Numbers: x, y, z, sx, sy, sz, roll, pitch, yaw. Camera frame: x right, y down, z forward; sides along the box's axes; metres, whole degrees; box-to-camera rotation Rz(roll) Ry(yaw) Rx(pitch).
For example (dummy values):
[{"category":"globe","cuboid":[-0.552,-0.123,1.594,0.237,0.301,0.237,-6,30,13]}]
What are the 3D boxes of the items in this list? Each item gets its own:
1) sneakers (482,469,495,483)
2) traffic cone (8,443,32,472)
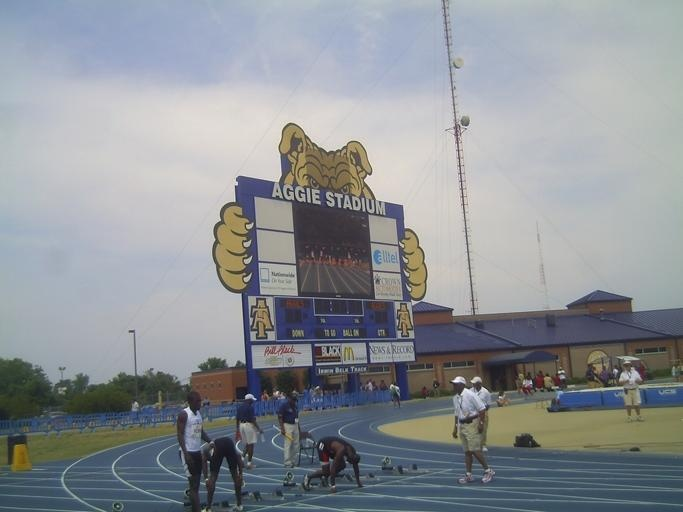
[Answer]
[{"category":"sneakers","cuboid":[3.725,5.651,16.671,0.176,0.231,0.491,-26,7,39]},{"category":"traffic cone","cuboid":[-12.293,7.723,24.952,0.691,0.928,1.155,1,-12,-27]}]
